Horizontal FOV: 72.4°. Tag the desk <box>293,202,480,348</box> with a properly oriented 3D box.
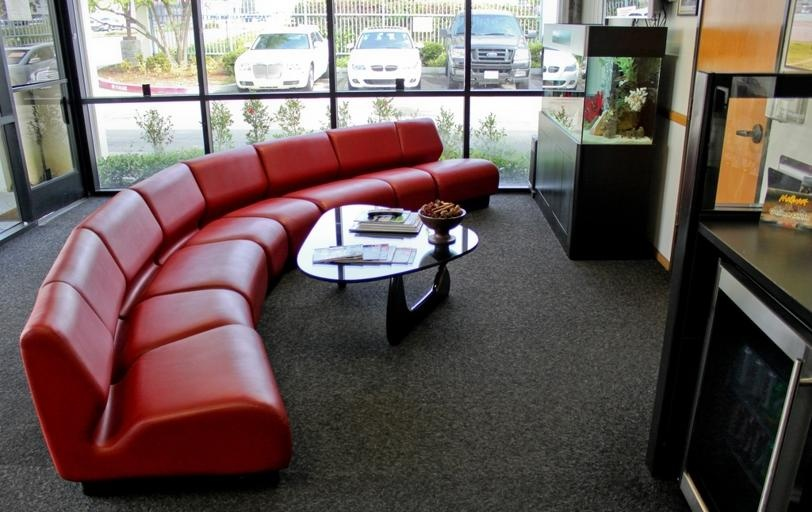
[{"bbox_3d":[-0.132,0.440,4.734,1.407,0.525,1.150,27,45,34],"label":"desk"}]
